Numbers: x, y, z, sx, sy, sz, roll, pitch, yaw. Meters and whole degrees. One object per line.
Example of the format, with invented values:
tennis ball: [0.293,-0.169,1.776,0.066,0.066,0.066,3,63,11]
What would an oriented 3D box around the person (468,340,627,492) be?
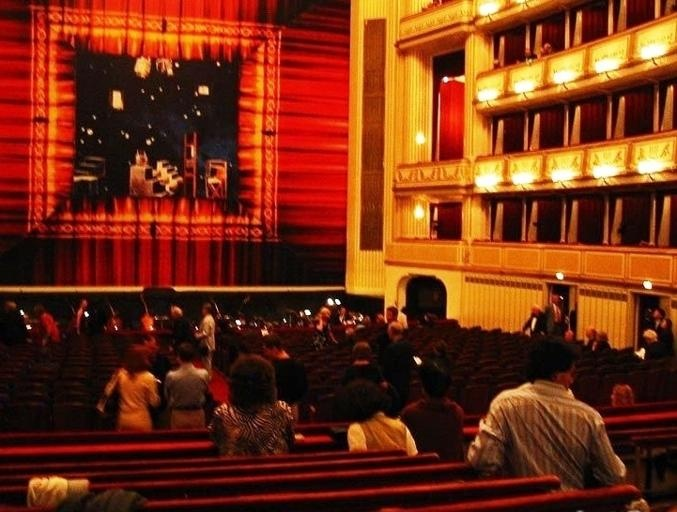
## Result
person: [1.226,0.934,4.140,0.877,0.846,0.274,2,3,8]
